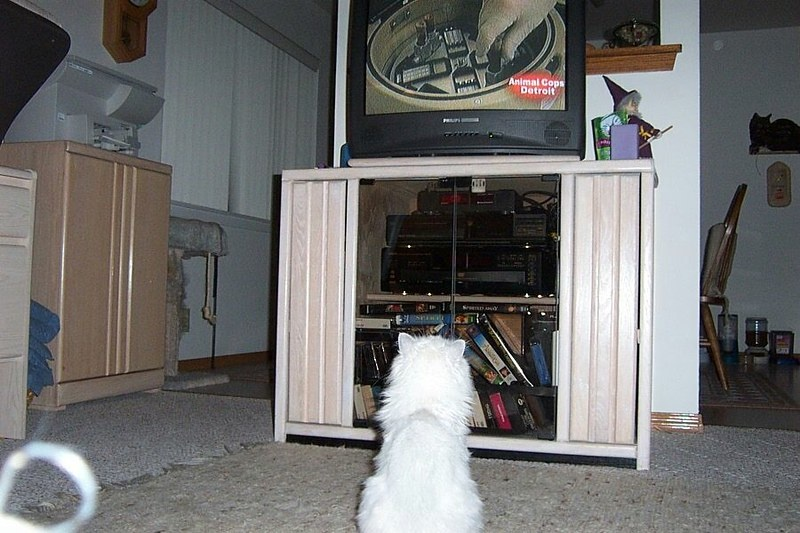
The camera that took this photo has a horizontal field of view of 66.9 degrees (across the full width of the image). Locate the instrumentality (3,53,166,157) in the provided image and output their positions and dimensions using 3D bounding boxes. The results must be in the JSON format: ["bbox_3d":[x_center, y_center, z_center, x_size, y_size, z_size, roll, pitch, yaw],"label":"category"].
[{"bbox_3d":[-1.827,-0.791,3.548,0.542,0.482,0.759,13,0,12],"label":"instrumentality"}]

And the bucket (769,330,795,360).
[{"bbox_3d":[3.625,0.742,5.745,0.258,0.349,0.247,2,-5,0],"label":"bucket"}]

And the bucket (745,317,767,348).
[{"bbox_3d":[3.471,0.652,6.000,0.260,0.371,0.263,-1,0,0],"label":"bucket"}]

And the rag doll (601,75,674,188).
[{"bbox_3d":[1.042,-0.649,2.745,0.458,0.630,0.101,4,-31,6],"label":"rag doll"}]
